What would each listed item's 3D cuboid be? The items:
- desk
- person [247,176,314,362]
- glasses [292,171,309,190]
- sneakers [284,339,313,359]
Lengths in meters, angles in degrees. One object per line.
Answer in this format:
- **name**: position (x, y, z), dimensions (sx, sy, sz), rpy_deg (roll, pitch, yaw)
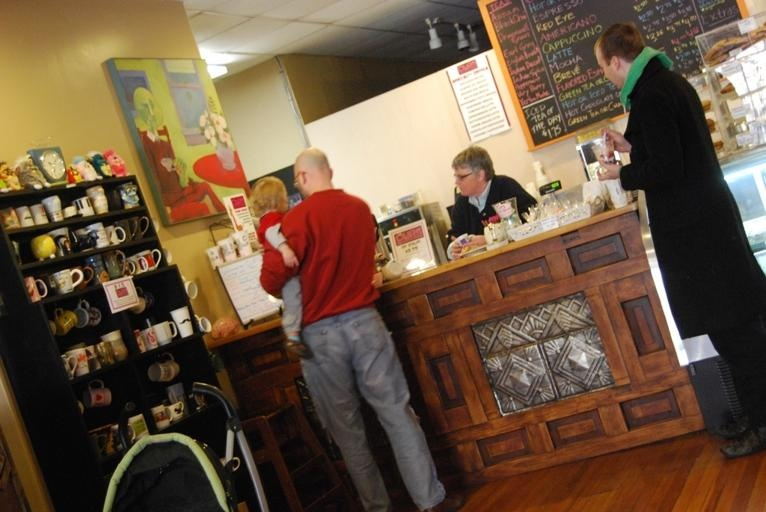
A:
- **desk**: position (0.524, 0.614, 3.458), dimensions (1.776, 0.885, 0.507), rpy_deg (-18, 4, 16)
- **person**: position (-0.623, 0.036, 3.489), dimensions (0.232, 1.111, 0.584), rpy_deg (-13, 2, -9)
- **glasses**: position (-0.481, -0.446, 3.441), dimensions (0.122, 0.056, 0.094), rpy_deg (32, -10, -39)
- **sneakers**: position (-0.497, 0.550, 3.319), dimensions (0.070, 0.163, 0.084), rpy_deg (-53, -3, -10)
